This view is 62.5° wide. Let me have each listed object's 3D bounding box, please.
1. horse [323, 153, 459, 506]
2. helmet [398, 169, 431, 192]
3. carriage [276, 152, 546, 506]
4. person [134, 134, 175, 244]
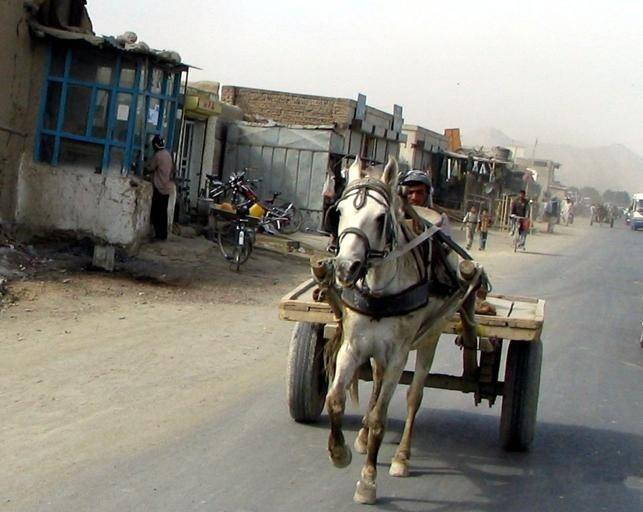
[{"bbox_3d":[0.391,0.540,3.510,0.711,2.316,1.468,7,8,32],"label":"horse"},{"bbox_3d":[0.773,-0.626,4.380,0.192,0.262,0.296,8,24,14],"label":"helmet"},{"bbox_3d":[0.797,0.519,4.095,1.398,2.063,2.866,2,0,17],"label":"carriage"},{"bbox_3d":[-3.514,-1.460,11.476,0.628,2.298,0.541,1,7,-16],"label":"person"}]
